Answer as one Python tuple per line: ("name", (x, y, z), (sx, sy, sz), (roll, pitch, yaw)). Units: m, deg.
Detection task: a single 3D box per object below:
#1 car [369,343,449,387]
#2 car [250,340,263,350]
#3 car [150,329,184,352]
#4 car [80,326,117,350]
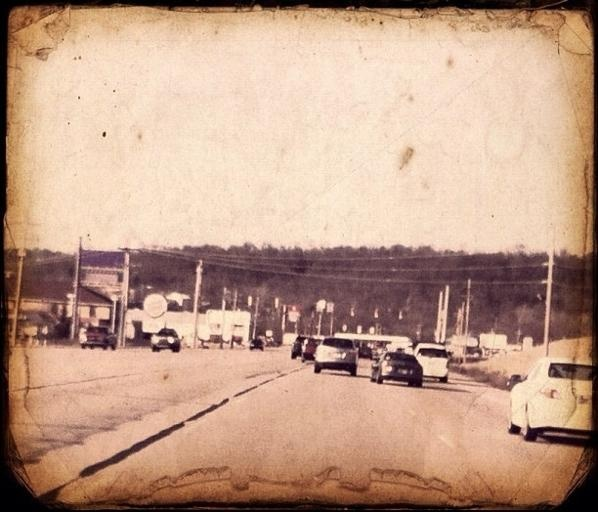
("car", (4.163, 4.048, 29.637), (1.437, 1.132, 2.828), (0, 0, 0))
("car", (-3.738, 7.713, 69.520), (1.117, 1.119, 1.783), (1, 1, 2))
("car", (-7.939, 4.960, 46.956), (1.105, 1.347, 2.878), (1, -8, -6))
("car", (-10.846, 4.352, 42.765), (0.840, 0.841, 2.096), (1, -10, -5))
